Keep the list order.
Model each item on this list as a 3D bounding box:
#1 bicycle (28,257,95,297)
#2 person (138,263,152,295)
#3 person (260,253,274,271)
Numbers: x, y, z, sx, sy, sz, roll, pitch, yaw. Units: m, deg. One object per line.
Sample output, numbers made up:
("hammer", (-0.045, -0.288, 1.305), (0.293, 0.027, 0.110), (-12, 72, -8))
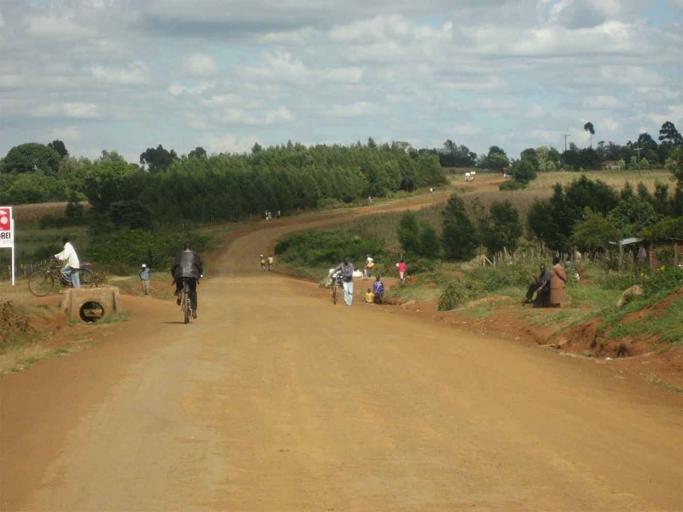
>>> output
("bicycle", (-10.000, 0.731, 31.381), (2.245, 1.447, 0.919), (-1, 19, -22))
("person", (-9.010, 0.981, 39.929), (0.381, 1.603, 1.662), (0, 13, -11))
("person", (-5.550, 0.488, 64.251), (0.960, 1.400, 0.561), (-4, -14, 4))
